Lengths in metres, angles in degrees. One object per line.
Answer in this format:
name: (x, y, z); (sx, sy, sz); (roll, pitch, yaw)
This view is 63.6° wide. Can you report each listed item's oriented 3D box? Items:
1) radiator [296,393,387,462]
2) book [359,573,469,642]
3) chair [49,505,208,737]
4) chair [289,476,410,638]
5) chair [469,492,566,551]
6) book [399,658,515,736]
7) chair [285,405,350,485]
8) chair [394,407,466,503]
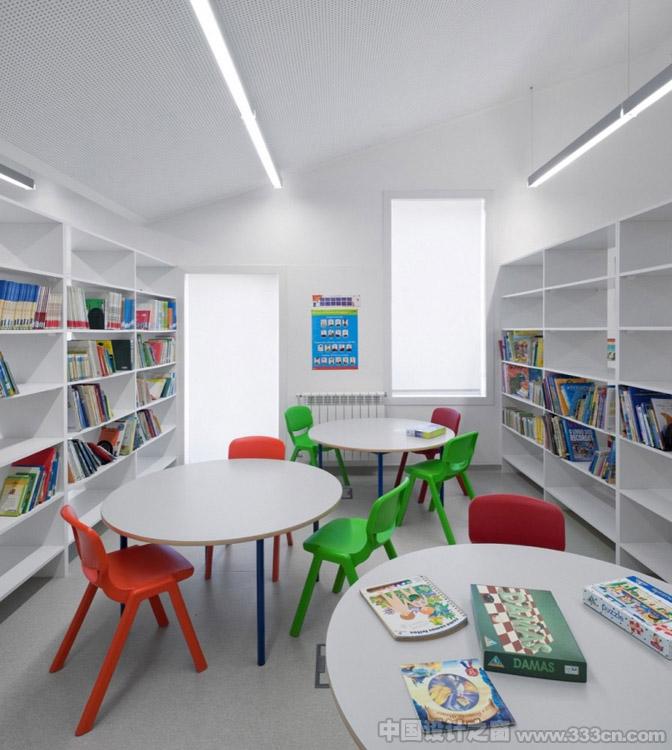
radiator: (0.053, 0.445, 4.610); (0.642, 0.618, 0.066); (-1, -2, 0)
book: (0.216, 0.633, 1.505); (0.214, 0.294, 0.018); (-21, 32, 16)
chair: (-0.876, 0.914, 2.242); (0.551, 0.694, 0.489); (-6, 9, -36)
chair: (0.081, 0.851, 2.593); (0.531, 0.708, 0.580); (2, 6, 10)
chair: (0.740, 0.560, 2.261); (0.254, 0.348, 0.287); (0, -3, 9)
book: (0.262, 0.706, 1.191); (0.199, 0.034, 0.194); (-1, 6, -7)
chair: (-0.178, 0.614, 4.642); (0.496, 0.658, 0.488); (-7, 9, -40)
chair: (0.675, 0.598, 4.636); (0.572, 0.706, 0.583); (18, 5, 12)
